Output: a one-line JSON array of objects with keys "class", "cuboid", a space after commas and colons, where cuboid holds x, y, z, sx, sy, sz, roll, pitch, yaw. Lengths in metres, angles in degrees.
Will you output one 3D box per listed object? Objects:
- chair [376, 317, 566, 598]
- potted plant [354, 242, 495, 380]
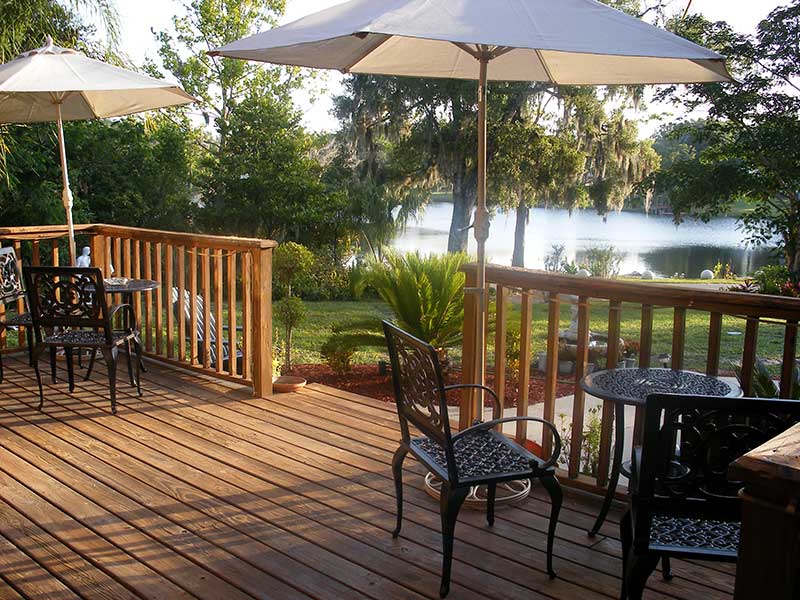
[{"class": "chair", "cuboid": [0.326, 0.558, 3.795, 1.100, 1.960, 1.216, -5, 10, -19]}, {"class": "potted plant", "cuboid": [0.067, 0.084, 6.378, 1.179, 1.293, 1.259, 4, 4, 13]}]
